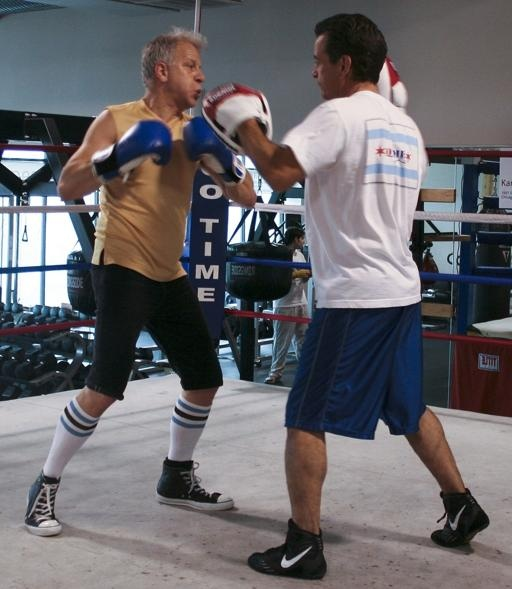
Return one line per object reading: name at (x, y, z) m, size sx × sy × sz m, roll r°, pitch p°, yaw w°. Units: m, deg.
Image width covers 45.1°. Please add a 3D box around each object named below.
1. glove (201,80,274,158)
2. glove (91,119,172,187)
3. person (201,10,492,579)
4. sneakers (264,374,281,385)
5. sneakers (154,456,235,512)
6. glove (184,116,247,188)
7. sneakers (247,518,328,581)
glove at (-0.040, -0.358, 1.246) m, size 0.098 × 0.098 × 0.162 m, roll -38°, pitch 4°, yaw 21°
glove at (-0.259, -0.280, 1.307) m, size 0.163 × 0.071 × 0.121 m, roll -21°, pitch 20°, yaw 32°
person at (0.208, -0.010, 1.304) m, size 0.610 × 1.142 × 0.250 m, roll 0°, pitch 3°, yaw -27°
sneakers at (0.165, 0.824, 6.121) m, size 0.161 × 0.087 × 0.409 m, roll 0°, pitch -4°, yaw 7°
sneakers at (-0.121, 0.504, 1.616) m, size 0.256 × 0.129 × 0.086 m, roll 3°, pitch -6°, yaw 2°
glove at (-0.080, -0.319, 1.449) m, size 0.085 × 0.066 × 0.216 m, roll -16°, pitch -33°, yaw 35°
sneakers at (0.075, 0.514, 1.274) m, size 0.204 × 0.119 × 0.072 m, roll 4°, pitch -3°, yaw 25°
